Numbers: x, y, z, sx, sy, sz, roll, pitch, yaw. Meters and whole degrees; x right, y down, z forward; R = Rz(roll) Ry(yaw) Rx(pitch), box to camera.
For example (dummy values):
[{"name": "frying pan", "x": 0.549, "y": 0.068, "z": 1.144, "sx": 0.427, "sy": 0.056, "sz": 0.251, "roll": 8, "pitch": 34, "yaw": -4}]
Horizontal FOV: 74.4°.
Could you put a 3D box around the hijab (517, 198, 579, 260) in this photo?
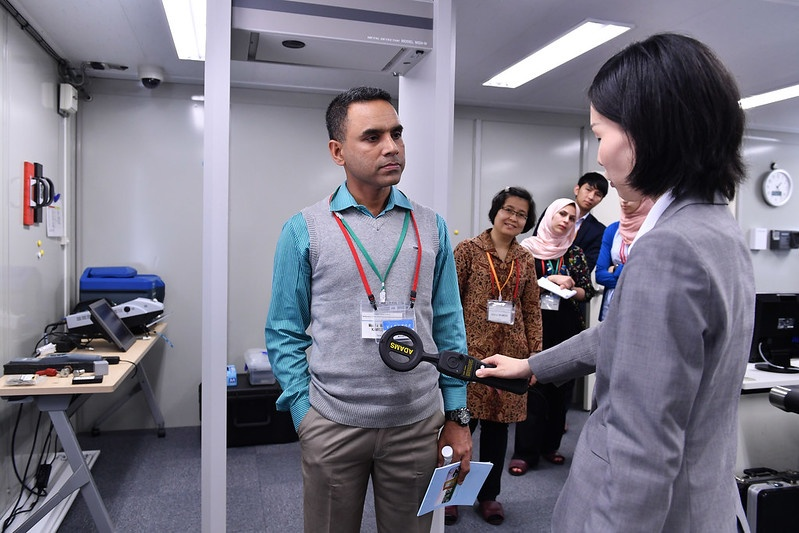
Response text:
[{"name": "hijab", "x": 1.094, "y": -0.260, "z": 3.839, "sx": 0.588, "sy": 0.439, "sz": 0.306, "roll": 2, "pitch": -2, "yaw": -32}]

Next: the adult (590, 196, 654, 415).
[{"name": "adult", "x": 1.748, "y": 0.078, "z": 4.093, "sx": 0.352, "sy": 1.153, "sz": 0.323, "roll": -10, "pitch": 31, "yaw": -2}]

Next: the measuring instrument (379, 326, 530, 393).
[{"name": "measuring instrument", "x": 0.133, "y": 0.346, "z": 1.947, "sx": 0.644, "sy": 0.214, "sz": 0.070, "roll": 15, "pitch": -17, "yaw": -6}]

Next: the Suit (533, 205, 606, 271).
[{"name": "Suit", "x": 1.303, "y": -0.198, "z": 4.042, "sx": 0.381, "sy": 0.393, "sz": 0.207, "roll": 27, "pitch": -11, "yaw": 7}]

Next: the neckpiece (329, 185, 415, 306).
[{"name": "neckpiece", "x": -0.098, "y": -0.030, "z": 1.985, "sx": 0.245, "sy": 0.409, "sz": 0.408, "roll": -15, "pitch": 45, "yaw": -5}]

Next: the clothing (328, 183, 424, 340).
[{"name": "clothing", "x": -0.059, "y": 0.017, "z": 1.930, "sx": 0.297, "sy": 0.515, "sz": 0.181, "roll": 3, "pitch": 24, "yaw": 14}]

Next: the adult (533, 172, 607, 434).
[{"name": "adult", "x": 1.436, "y": 0.114, "z": 4.658, "sx": 0.547, "sy": 1.849, "sz": 0.512, "roll": 23, "pitch": 32, "yaw": 32}]

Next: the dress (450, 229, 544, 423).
[{"name": "dress", "x": 0.656, "y": 0.253, "z": 3.418, "sx": 0.571, "sy": 1.044, "sz": 0.267, "roll": 7, "pitch": 39, "yaw": 18}]

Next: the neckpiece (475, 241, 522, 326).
[{"name": "neckpiece", "x": 0.626, "y": 0.125, "z": 3.223, "sx": 0.201, "sy": 0.436, "sz": 0.045, "roll": 5, "pitch": -10, "yaw": 3}]
